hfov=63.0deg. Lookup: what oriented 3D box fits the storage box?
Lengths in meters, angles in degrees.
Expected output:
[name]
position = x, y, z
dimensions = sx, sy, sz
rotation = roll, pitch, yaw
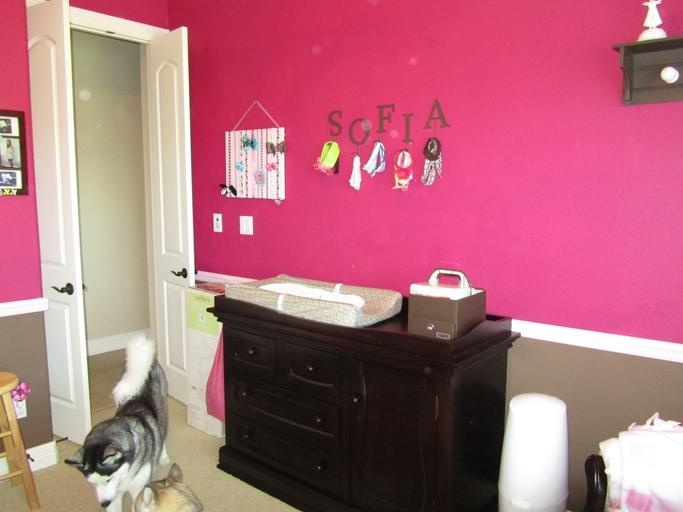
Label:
[storage box]
position = 0.540, 0.223, 2.841
dimensions = 0.267, 0.356, 0.370
rotation = 2, 3, 41
